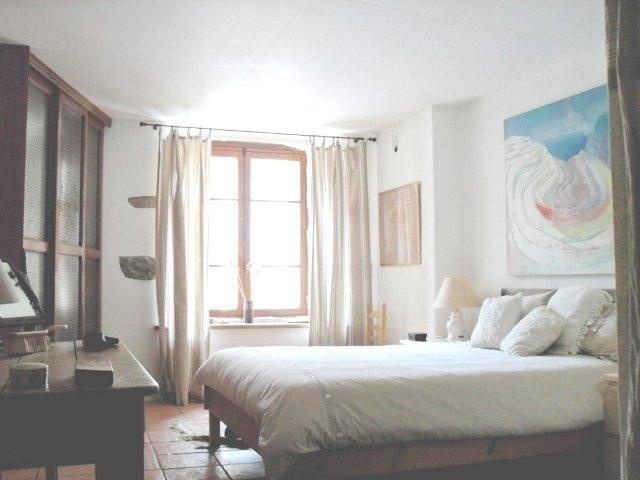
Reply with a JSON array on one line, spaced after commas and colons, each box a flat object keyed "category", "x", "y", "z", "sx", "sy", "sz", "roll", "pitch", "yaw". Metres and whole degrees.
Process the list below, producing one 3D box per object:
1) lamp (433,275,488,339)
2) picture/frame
[{"category": "lamp", "x": 1.240, "y": 0.603, "z": 4.756, "sx": 0.525, "sy": 0.634, "sz": 0.542, "roll": 0, "pitch": 0, "yaw": -33}, {"category": "picture/frame", "x": 0.896, "y": -0.182, "z": 5.471, "sx": 0.034, "sy": 0.945, "sz": 0.893, "roll": 4, "pitch": -9, "yaw": -22}]
